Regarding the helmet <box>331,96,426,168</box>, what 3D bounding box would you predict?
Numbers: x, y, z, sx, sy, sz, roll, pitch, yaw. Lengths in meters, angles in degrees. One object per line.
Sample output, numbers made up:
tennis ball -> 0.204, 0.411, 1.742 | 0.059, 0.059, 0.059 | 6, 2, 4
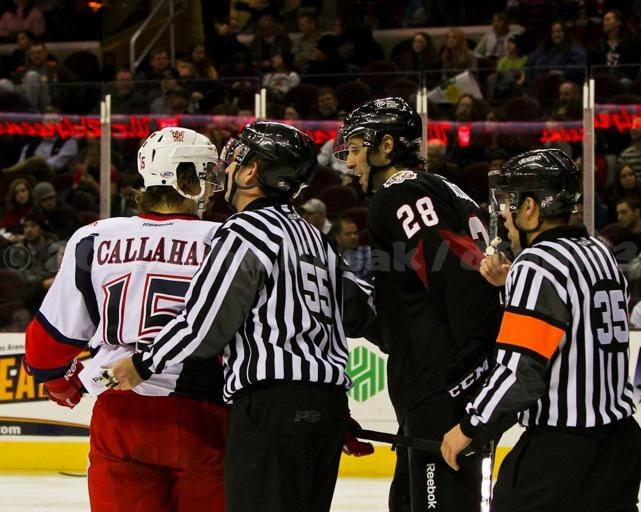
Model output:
helmet -> 0.295, -0.614, 4.825 | 0.416, 0.327, 0.315 | 2, -3, 12

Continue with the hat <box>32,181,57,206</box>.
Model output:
hat -> -2.338, -0.523, 8.086 | 0.173, 0.202, 0.222 | -1, 9, -17

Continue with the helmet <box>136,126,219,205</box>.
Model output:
helmet -> -0.665, -0.428, 4.524 | 0.389, 0.342, 0.299 | -3, 0, -18

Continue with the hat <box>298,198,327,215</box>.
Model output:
hat -> -0.059, -0.409, 7.983 | 0.175, 0.081, 0.120 | 11, -6, -43
